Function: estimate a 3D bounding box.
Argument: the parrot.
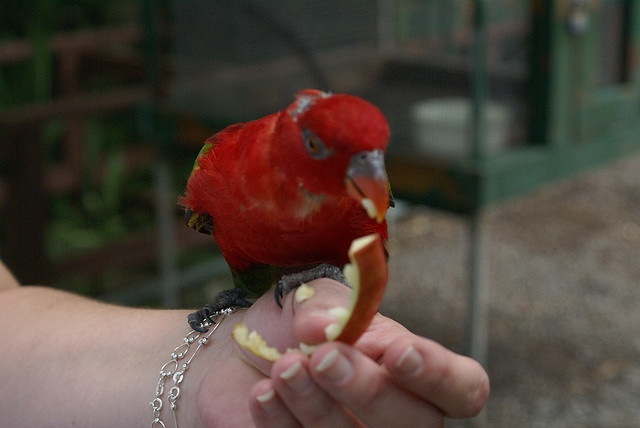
[{"bbox_3d":[-0.102,-0.072,2.015,0.432,0.551,0.698,0,20,-7],"label":"parrot"}]
